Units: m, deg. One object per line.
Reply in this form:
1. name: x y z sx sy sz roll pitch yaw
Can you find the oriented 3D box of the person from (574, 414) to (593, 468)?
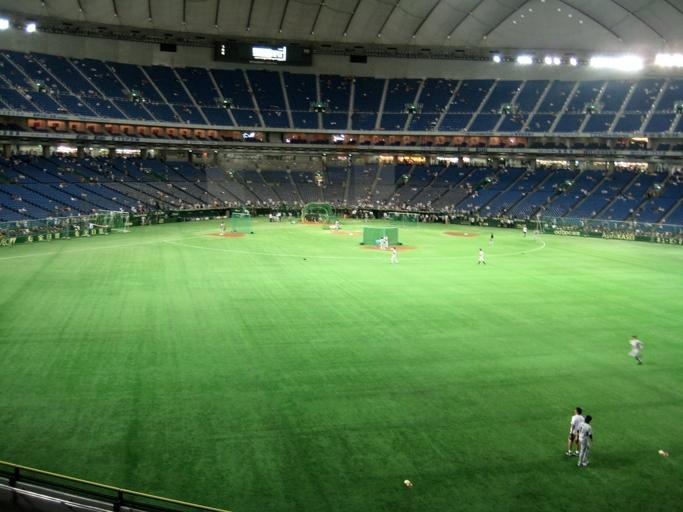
1. person: 7.474 5.502 16.621 0.379 1.382 1.458 6 8 28
